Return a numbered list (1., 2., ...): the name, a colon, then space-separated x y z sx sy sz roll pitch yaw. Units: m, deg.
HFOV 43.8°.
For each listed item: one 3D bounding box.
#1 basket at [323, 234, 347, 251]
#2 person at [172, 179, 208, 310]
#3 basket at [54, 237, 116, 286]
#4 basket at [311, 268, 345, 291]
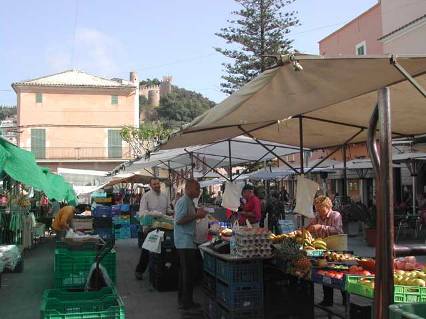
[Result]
1. basket: 2.142 1.444 9.228 0.316 0.217 0.313 2 -15 -7
2. person: -0.444 1.600 10.280 0.772 2.254 0.795 1 -1 -18
3. basket: -2.718 2.102 10.974 1.220 0.746 1.208 1 -6 -5
4. basket: 1.748 1.806 8.043 0.133 0.271 0.652 2 -6 -26
